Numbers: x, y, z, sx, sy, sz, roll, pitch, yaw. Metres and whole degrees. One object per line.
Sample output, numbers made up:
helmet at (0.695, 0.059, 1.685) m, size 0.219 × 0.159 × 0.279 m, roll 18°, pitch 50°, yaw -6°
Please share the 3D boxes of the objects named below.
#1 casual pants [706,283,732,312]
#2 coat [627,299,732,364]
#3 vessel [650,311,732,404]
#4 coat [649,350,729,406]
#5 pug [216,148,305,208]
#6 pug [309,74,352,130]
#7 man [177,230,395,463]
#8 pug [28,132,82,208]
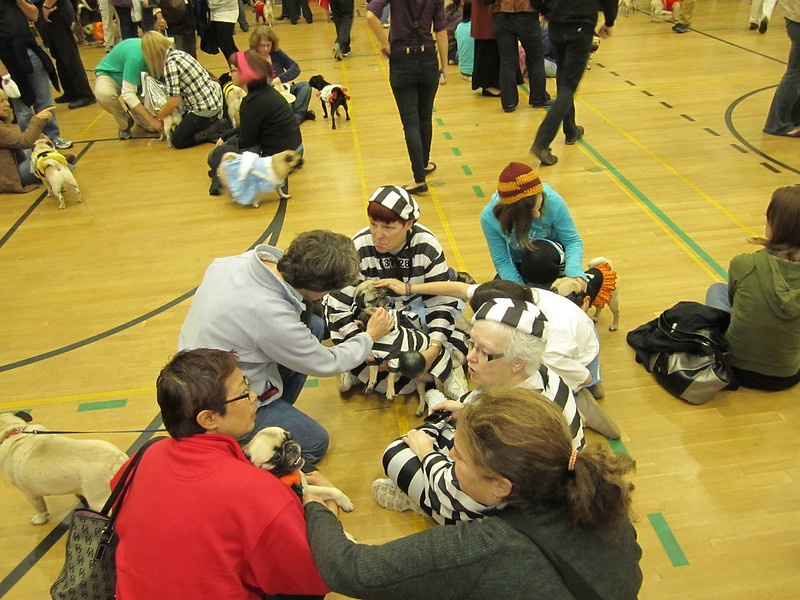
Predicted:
casual pants at (2.116, -0.018, 4.198) m, size 0.188 × 0.070 × 0.181 m, roll -7°, pitch 65°, yaw 40°
coat at (1.839, 0.228, 4.070) m, size 0.675 × 0.225 × 0.508 m, roll -13°, pitch 24°, yaw 9°
vessel at (1.801, 0.339, 4.063) m, size 0.326 × 0.541 × 0.548 m, roll -23°, pitch 43°, yaw -15°
coat at (1.823, 0.490, 3.931) m, size 0.173 × 0.202 × 0.291 m, roll -6°, pitch 37°, yaw -40°
pug at (-1.384, -1.261, 6.315) m, size 0.812 × 0.498 × 0.511 m, roll 0°, pitch 53°, yaw -10°
pug at (-0.859, -2.591, 8.135) m, size 0.275 × 0.535 × 1.003 m, roll -20°, pitch 31°, yaw -19°
man at (-0.557, 0.290, 3.451) m, size 0.993 × 1.334 × 0.634 m, roll -3°, pitch 54°, yaw -29°
pug at (-3.580, -1.338, 6.542) m, size 0.348 × 0.518 × 1.004 m, roll -25°, pitch 39°, yaw -30°
